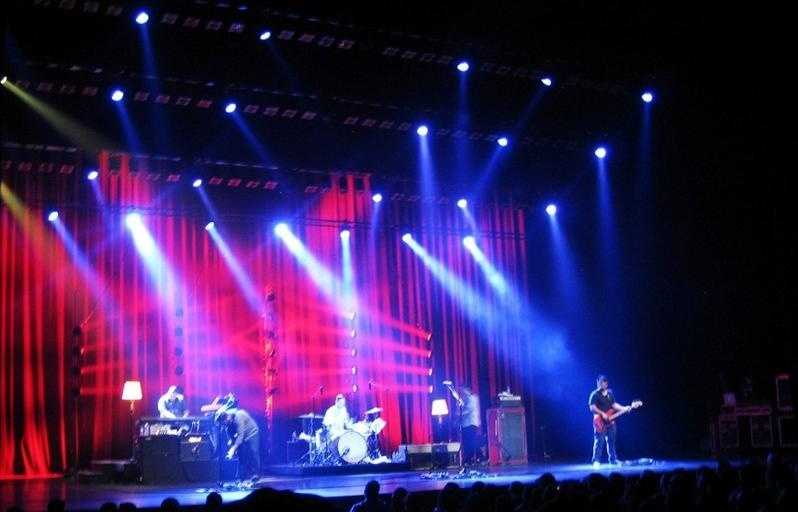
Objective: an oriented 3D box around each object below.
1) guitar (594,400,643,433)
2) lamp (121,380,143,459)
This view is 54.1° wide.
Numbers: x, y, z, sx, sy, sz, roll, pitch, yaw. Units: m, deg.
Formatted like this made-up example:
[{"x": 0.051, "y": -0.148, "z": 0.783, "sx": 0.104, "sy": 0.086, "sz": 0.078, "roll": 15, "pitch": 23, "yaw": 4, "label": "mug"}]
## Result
[{"x": 4.511, "y": 3.351, "z": 16.274, "sx": 0.833, "sy": 0.606, "sz": 0.392, "roll": -6, "pitch": -14, "yaw": 20, "label": "guitar"}, {"x": -5.770, "y": 3.639, "z": 16.790, "sx": 0.490, "sy": 1.842, "sz": 0.470, "roll": -4, "pitch": -15, "yaw": -12, "label": "lamp"}]
